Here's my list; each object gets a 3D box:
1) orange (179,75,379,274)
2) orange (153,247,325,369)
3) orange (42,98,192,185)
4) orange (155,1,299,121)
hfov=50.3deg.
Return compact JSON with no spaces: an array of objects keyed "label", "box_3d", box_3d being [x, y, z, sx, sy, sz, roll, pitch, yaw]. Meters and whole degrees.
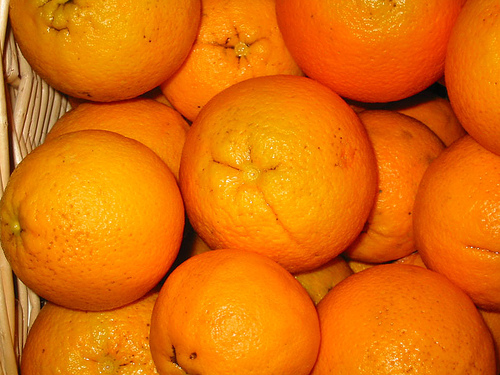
[{"label":"orange","box_3d":[0.053,-0.041,1.281,0.383,0.378,0.422,-33,88,7]},{"label":"orange","box_3d":[-0.012,0.263,1.152,0.252,0.268,0.278,-43,55,12]},{"label":"orange","box_3d":[-0.298,-0.122,1.342,0.286,0.250,0.260,0,36,15]},{"label":"orange","box_3d":[-0.073,-0.328,1.409,0.280,0.296,0.221,-42,21,3]}]
